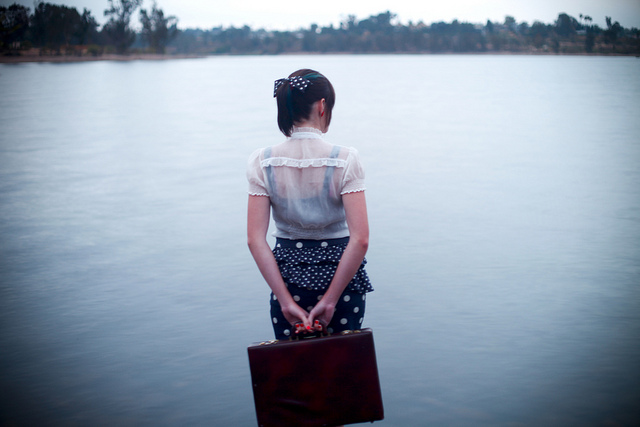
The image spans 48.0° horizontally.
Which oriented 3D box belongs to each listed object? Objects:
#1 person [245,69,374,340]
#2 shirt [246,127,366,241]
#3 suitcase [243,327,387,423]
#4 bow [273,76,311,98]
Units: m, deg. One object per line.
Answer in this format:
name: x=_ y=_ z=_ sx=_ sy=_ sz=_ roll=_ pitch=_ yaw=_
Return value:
person: x=-0.102 y=-0.061 z=6.668 sx=1.175 sy=2.498 sz=0.756 roll=16 pitch=19 yaw=38
shirt: x=-0.062 y=-0.266 z=6.887 sx=1.271 sy=0.982 sz=0.675 roll=0 pitch=-1 yaw=28
suitcase: x=-0.051 y=1.504 z=6.598 sx=1.250 sy=0.887 sz=0.375 roll=-9 pitch=1 yaw=2
bow: x=-0.247 y=-1.165 z=6.631 sx=0.299 sy=0.184 sz=0.124 roll=7 pitch=5 yaw=28
